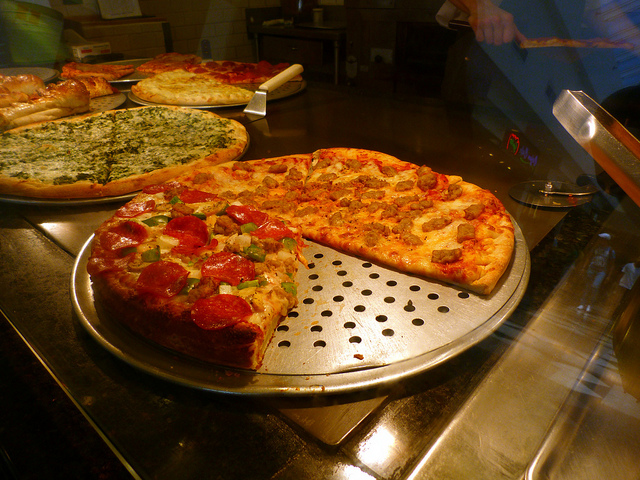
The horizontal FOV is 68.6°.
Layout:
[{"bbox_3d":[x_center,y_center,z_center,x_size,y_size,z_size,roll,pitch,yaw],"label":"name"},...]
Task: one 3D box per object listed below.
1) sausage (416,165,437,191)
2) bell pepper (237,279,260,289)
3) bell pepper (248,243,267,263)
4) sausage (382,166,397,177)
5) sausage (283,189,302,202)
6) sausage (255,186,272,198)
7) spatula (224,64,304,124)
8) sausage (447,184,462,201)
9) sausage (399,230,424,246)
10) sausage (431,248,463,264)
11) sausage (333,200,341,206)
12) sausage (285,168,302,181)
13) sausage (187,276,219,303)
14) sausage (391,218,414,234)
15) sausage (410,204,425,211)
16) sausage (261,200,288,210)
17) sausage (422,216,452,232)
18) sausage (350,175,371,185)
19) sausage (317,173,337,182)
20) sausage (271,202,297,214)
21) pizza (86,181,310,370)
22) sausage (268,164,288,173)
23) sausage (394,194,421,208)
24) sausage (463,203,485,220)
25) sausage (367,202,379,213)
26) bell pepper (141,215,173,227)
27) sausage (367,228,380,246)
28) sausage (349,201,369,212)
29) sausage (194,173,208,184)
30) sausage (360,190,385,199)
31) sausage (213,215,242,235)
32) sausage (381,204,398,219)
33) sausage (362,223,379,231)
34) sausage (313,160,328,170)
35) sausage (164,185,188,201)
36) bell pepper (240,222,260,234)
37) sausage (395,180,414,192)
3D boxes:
[{"bbox_3d":[0.386,-0.226,1.720,0.080,0.030,0.093,0,50,28],"label":"sausage"},{"bbox_3d":[-0.196,0.122,1.296,0.063,0.019,0.030,5,33,6],"label":"bell pepper"},{"bbox_3d":[-0.187,0.037,1.402,0.061,0.014,0.049,14,39,5],"label":"bell pepper"},{"bbox_3d":[0.265,-0.269,1.833,0.055,0.014,0.040,28,47,27],"label":"sausage"},{"bbox_3d":[-0.107,-0.167,1.753,0.070,0.013,0.037,-22,46,-33],"label":"sausage"},{"bbox_3d":[-0.217,-0.182,1.774,0.055,0.013,0.057,33,29,33],"label":"sausage"},{"bbox_3d":[-0.299,-0.727,2.377,0.496,0.078,0.240,-39,58,-11],"label":"spatula"},{"bbox_3d":[0.462,-0.166,1.627,0.064,0.017,0.045,-9,67,-8],"label":"sausage"},{"bbox_3d":[0.280,-0.009,1.458,0.052,0.017,0.057,2,19,-33],"label":"sausage"},{"bbox_3d":[0.354,0.046,1.328,0.065,0.015,0.052,-2,25,14],"label":"sausage"},{"bbox_3d":[0.058,-0.137,1.735,0.028,0.006,0.020,-6,36,20],"label":"sausage"},{"bbox_3d":[-0.106,-0.260,1.878,0.070,0.015,0.055,15,43,9],"label":"sausage"},{"bbox_3d":[-0.307,0.130,1.237,0.050,0.021,0.087,43,64,13],"label":"sausage"},{"bbox_3d":[0.268,-0.046,1.535,0.042,0.020,0.070,28,37,25],"label":"sausage"},{"bbox_3d":[0.335,-0.115,1.631,0.047,0.020,0.016,5,81,9],"label":"sausage"},{"bbox_3d":[-0.171,-0.127,1.679,0.072,0.013,0.038,-6,27,-9],"label":"sausage"},{"bbox_3d":[0.377,-0.051,1.548,0.096,0.023,0.039,-15,37,2],"label":"sausage"},{"bbox_3d":[0.155,-0.236,1.836,0.068,0.017,0.036,-11,28,1],"label":"sausage"},{"bbox_3d":[0.027,-0.252,1.877,0.062,0.010,0.036,0,31,6],"label":"sausage"},{"bbox_3d":[-0.124,-0.121,1.682,0.057,0.012,0.054,-27,33,-34],"label":"sausage"},{"bbox_3d":[-0.368,0.051,1.382,0.673,0.119,0.816,4,30,4],"label":"pizza"},{"bbox_3d":[-0.170,-0.290,1.893,0.044,0.016,0.051,-13,18,-40],"label":"sausage"},{"bbox_3d":[0.310,-0.143,1.680,0.082,0.022,0.040,-16,35,-7],"label":"sausage"},{"bbox_3d":[0.487,-0.091,1.509,0.046,0.016,0.058,9,41,39],"label":"sausage"},{"bbox_3d":[0.187,-0.115,1.664,0.038,0.012,0.036,-1,41,5],"label":"sausage"},{"bbox_3d":[-0.532,-0.062,1.523,0.075,0.014,0.039,-7,22,-29],"label":"bell pepper"},{"bbox_3d":[0.161,-0.012,1.438,0.042,0.014,0.050,-1,34,3],"label":"sausage"},{"bbox_3d":[0.132,-0.125,1.688,0.056,0.014,0.049,-7,24,-11],"label":"sausage"},{"bbox_3d":[-0.463,-0.239,1.828,0.055,0.010,0.037,-5,64,-2],"label":"sausage"},{"bbox_3d":[0.191,-0.169,1.733,0.069,0.012,0.034,1,39,13],"label":"sausage"},{"bbox_3d":[-0.299,-0.047,1.498,0.088,0.025,0.050,17,48,1],"label":"sausage"},{"bbox_3d":[0.232,-0.102,1.625,0.044,0.011,0.059,8,28,29],"label":"sausage"},{"bbox_3d":[0.170,-0.046,1.539,0.038,0.007,0.029,-3,27,2],"label":"sausage"},{"bbox_3d":[0.001,-0.309,1.932,0.042,0.012,0.039,39,87,16],"label":"sausage"},{"bbox_3d":[-0.519,-0.172,1.699,0.053,0.017,0.080,21,34,26],"label":"sausage"},{"bbox_3d":[-0.225,-0.040,1.512,0.084,0.033,0.035,-9,18,-10],"label":"bell pepper"},{"bbox_3d":[0.316,-0.203,1.749,0.060,0.014,0.046,-3,32,9],"label":"sausage"}]
